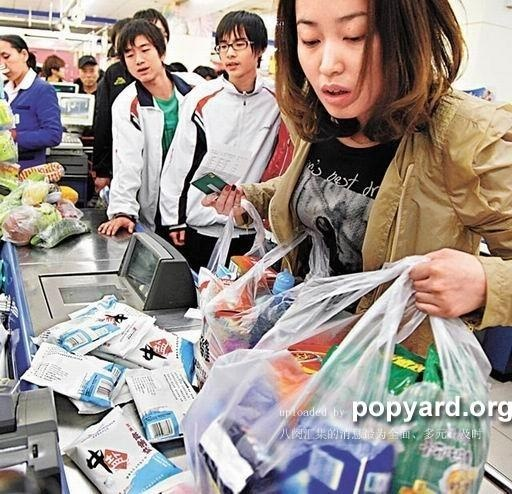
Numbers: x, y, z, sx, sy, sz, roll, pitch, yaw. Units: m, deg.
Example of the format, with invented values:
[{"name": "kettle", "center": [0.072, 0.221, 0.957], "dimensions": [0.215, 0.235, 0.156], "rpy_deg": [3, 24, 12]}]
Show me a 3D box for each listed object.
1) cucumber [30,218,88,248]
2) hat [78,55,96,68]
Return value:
[{"name": "cucumber", "center": [-0.927, -0.072, 1.921], "dimensions": [0.072, 0.065, 0.243], "rpy_deg": [16, 20, 19]}, {"name": "hat", "center": [-2.547, -2.770, 6.023], "dimensions": [0.182, 0.144, 0.261], "rpy_deg": [-7, 15, -7]}]
